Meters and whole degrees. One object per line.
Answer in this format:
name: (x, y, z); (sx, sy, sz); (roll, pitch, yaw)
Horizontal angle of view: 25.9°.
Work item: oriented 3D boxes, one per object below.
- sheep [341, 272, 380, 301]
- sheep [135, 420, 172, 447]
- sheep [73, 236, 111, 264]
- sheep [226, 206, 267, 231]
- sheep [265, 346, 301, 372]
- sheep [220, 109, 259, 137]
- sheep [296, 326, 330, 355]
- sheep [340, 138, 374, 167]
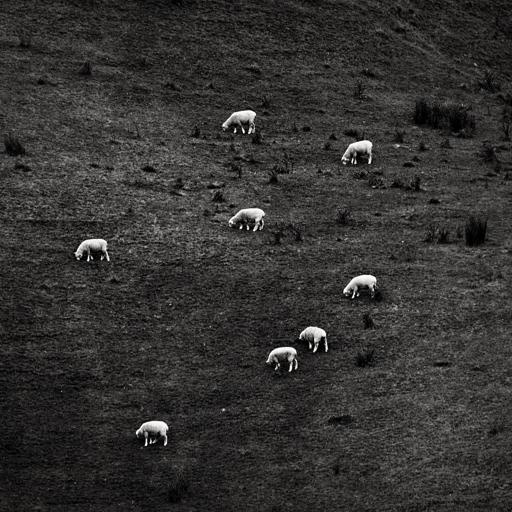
sheep: (3.268, 1.012, 35.202); (1.055, 0.778, 0.841); (-4, -6, 13)
sheep: (-2.800, 4.767, 29.678); (0.924, 0.786, 0.464); (1, -3, 8)
sheep: (-5.506, -0.149, 37.042); (1.176, 0.796, 0.793); (-2, -6, -11)
sheep: (-0.338, -1.235, 39.603); (1.267, 0.799, 0.877); (-4, -6, 11)
sheep: (0.719, 3.011, 31.922); (0.882, 0.716, 0.561); (-3, -5, 6)
sheep: (-0.800, -6.069, 50.671); (1.552, 1.248, 1.411); (-1, -6, -18)
sheep: (1.678, 2.422, 32.812); (0.416, 0.787, 1.141); (0, 2, -38)
sheep: (4.225, -4.398, 47.051); (1.339, 1.214, 1.176); (-3, -6, 4)
